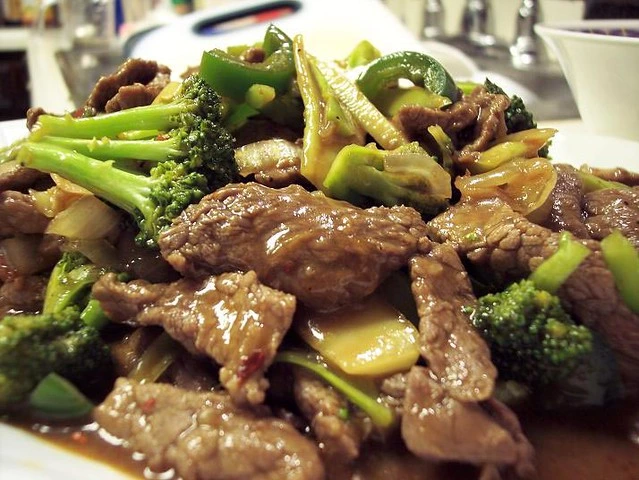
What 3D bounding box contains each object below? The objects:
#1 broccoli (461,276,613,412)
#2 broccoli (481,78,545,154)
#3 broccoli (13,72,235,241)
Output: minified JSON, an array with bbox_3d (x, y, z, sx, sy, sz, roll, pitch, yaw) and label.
[{"bbox_3d":[0.500,0.236,1.318,0.312,0.229,0.105,44,5,-1],"label":"broccoli"},{"bbox_3d":[0.617,-0.342,1.691,0.100,0.234,0.291,-17,-11,24],"label":"broccoli"},{"bbox_3d":[-0.565,-0.145,1.459,0.435,0.217,0.368,21,-1,-14],"label":"broccoli"}]
